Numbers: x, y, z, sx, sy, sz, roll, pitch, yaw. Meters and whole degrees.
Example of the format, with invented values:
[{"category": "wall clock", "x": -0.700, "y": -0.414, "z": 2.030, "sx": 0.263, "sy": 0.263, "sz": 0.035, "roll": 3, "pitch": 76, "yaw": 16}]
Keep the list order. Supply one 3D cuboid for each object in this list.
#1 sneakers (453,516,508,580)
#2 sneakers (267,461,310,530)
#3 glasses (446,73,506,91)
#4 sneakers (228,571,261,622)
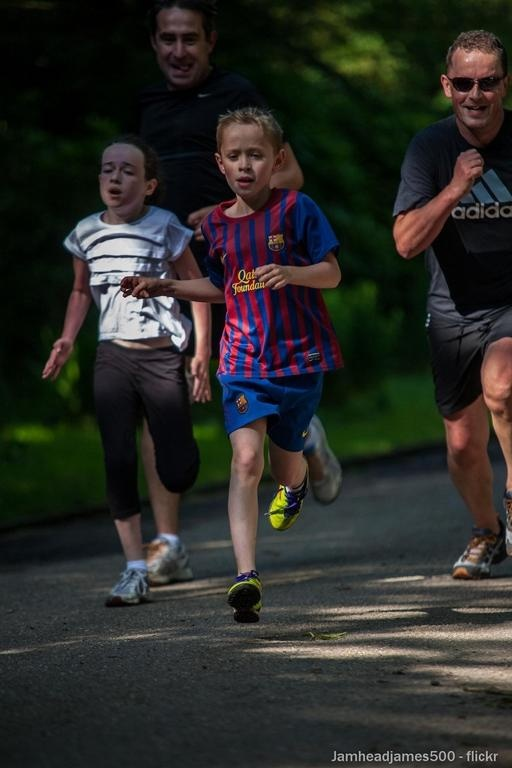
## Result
[{"category": "sneakers", "x": 1.092, "y": 0.781, "z": 4.101, "sx": 0.153, "sy": 0.163, "sz": 0.426, "roll": 10, "pitch": 26, "yaw": 41}, {"category": "sneakers", "x": 0.167, "y": 0.604, "z": 4.219, "sx": 0.149, "sy": 0.341, "sz": 0.156, "roll": 21, "pitch": 21, "yaw": -16}, {"category": "glasses", "x": 0.930, "y": -1.273, "z": 3.580, "sx": 0.203, "sy": 0.058, "sz": 0.102, "roll": 1, "pitch": 26, "yaw": 9}, {"category": "sneakers", "x": -0.039, "y": 0.792, "z": 3.053, "sx": 0.111, "sy": 0.277, "sz": 0.143, "roll": -5, "pitch": 29, "yaw": 1}]
